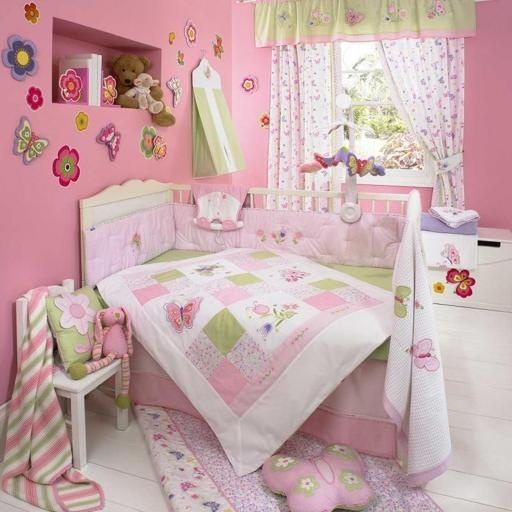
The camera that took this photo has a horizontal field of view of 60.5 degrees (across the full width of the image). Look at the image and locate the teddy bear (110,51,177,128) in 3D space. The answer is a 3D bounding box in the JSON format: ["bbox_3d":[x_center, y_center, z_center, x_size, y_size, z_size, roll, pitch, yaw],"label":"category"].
[{"bbox_3d":[-0.659,-1.000,2.618,0.364,0.395,0.351,-5,8,-20],"label":"teddy bear"}]

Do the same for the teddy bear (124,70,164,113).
[{"bbox_3d":[-0.660,-0.968,2.617,0.248,0.210,0.133,-12,34,-44],"label":"teddy bear"}]

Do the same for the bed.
[{"bbox_3d":[0.081,0.297,2.118,1.436,1.063,1.468,6,20,22],"label":"bed"}]
